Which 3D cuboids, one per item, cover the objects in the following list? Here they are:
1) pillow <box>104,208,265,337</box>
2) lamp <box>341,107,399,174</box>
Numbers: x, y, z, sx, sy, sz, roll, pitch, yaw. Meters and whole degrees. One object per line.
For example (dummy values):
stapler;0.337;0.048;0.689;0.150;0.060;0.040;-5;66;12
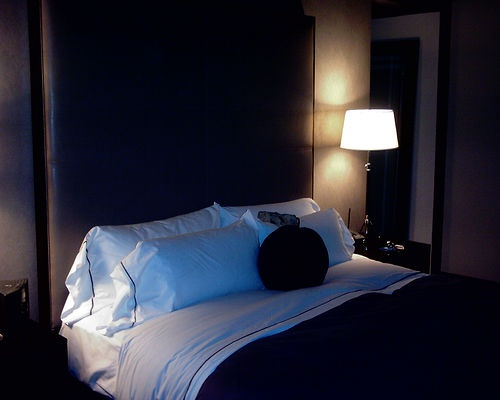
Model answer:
pillow;-0.313;0.415;2.711;1.087;0.536;0.361;-9;7;-43
lamp;1.003;-0.566;3.919;0.347;0.528;0.371;-5;16;-10
